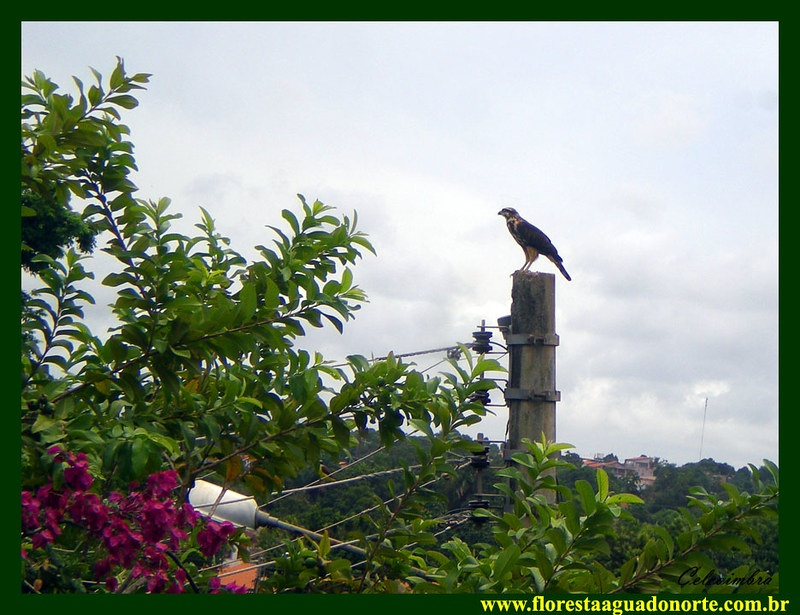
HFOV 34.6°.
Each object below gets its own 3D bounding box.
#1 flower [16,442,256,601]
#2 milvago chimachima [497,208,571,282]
[{"bbox_3d":[-1.176,0.950,5.655,0.960,0.610,0.864,8,-10,-19],"label":"flower"},{"bbox_3d":[0.872,-0.457,8.554,0.411,0.477,0.466,4,-9,5],"label":"milvago chimachima"}]
